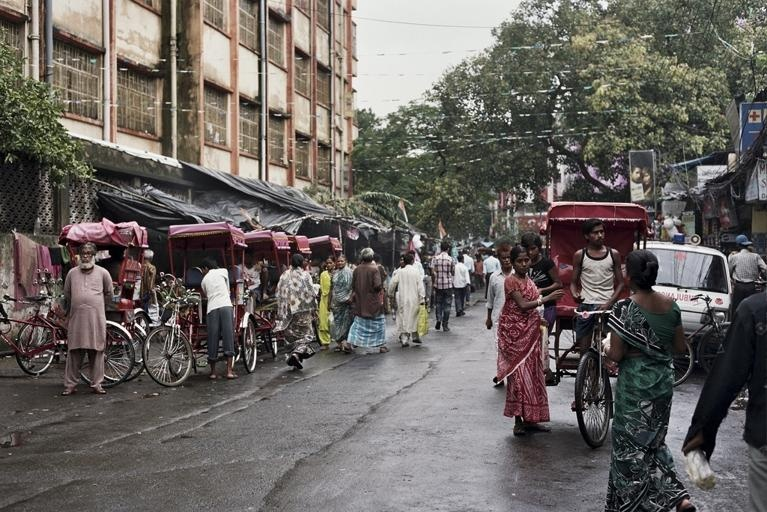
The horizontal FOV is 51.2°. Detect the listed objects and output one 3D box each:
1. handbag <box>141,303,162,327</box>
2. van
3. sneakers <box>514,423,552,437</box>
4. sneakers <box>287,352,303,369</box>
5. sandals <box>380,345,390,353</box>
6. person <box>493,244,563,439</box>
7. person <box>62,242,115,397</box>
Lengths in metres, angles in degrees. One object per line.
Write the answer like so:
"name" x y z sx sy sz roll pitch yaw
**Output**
"handbag" -4.948 1.250 17.030 0.400 0.459 0.420 1 0 7
"van" 5.666 0.590 14.761 1.577 1.539 2.669 0 -6 16
"sneakers" 1.878 2.207 10.281 0.551 0.154 0.221 -3 -1 -27
"sneakers" -1.612 1.925 14.651 0.198 0.176 0.377 -4 -23 1
"sandals" 0.014 2.004 17.151 0.096 0.116 0.167 3 9 15
"person" 1.794 1.063 10.450 0.610 2.370 0.761 -3 0 8
"person" -4.765 0.994 12.866 0.834 2.558 0.605 -3 0 -19
